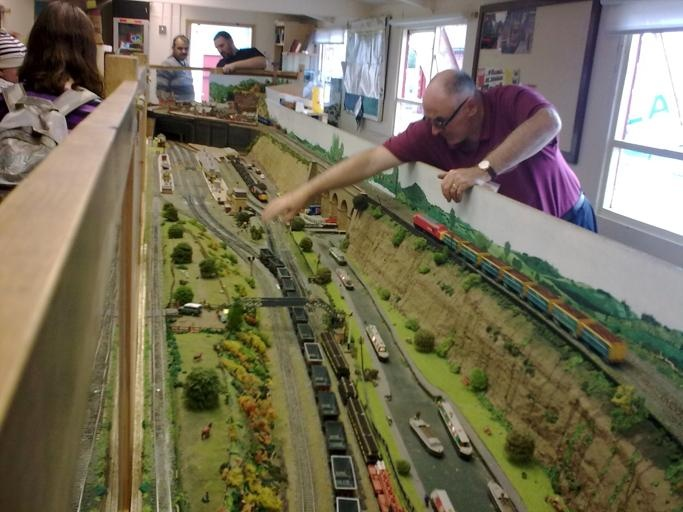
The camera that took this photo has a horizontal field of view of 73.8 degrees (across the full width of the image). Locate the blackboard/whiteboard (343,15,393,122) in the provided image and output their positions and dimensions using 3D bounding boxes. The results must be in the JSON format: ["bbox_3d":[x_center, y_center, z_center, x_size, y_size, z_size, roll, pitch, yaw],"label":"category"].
[{"bbox_3d":[1.076,-7.480,17.959,0.408,4.342,4.004,-1,19,-17],"label":"blackboard/whiteboard"}]

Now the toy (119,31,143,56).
[{"bbox_3d":[-9.158,-9.393,19.739,1.115,0.683,0.453,5,16,-7],"label":"toy"}]
